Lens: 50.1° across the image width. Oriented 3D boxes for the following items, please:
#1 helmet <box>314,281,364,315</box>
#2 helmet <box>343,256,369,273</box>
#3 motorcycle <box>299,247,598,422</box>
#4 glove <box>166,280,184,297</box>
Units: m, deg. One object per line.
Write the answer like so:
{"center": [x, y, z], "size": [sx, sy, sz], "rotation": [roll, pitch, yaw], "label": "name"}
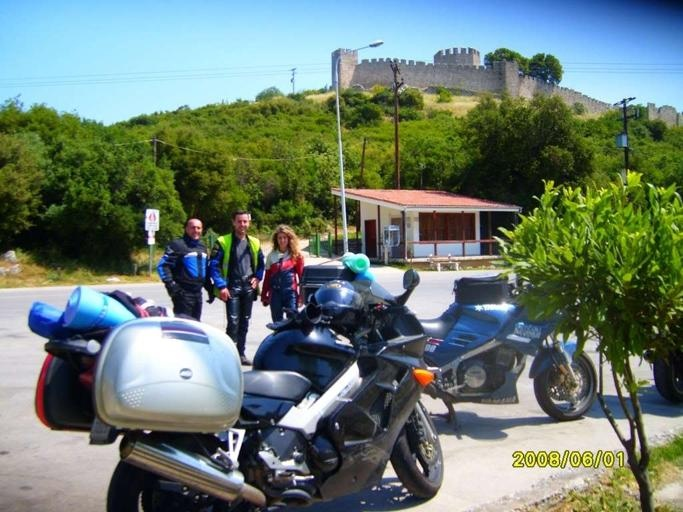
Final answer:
{"center": [-0.047, 0.383, 6.088], "size": [0.302, 0.156, 0.423], "rotation": [-19, 17, -30], "label": "helmet"}
{"center": [0.134, 0.047, 6.552], "size": [0.191, 0.116, 0.149], "rotation": [24, 27, 1], "label": "helmet"}
{"center": [1.126, 0.819, 8.128], "size": [3.110, 2.050, 1.567], "rotation": [-3, 1, -7], "label": "motorcycle"}
{"center": [-2.232, 0.427, 9.768], "size": [0.164, 0.199, 0.194], "rotation": [-1, 38, -19], "label": "glove"}
